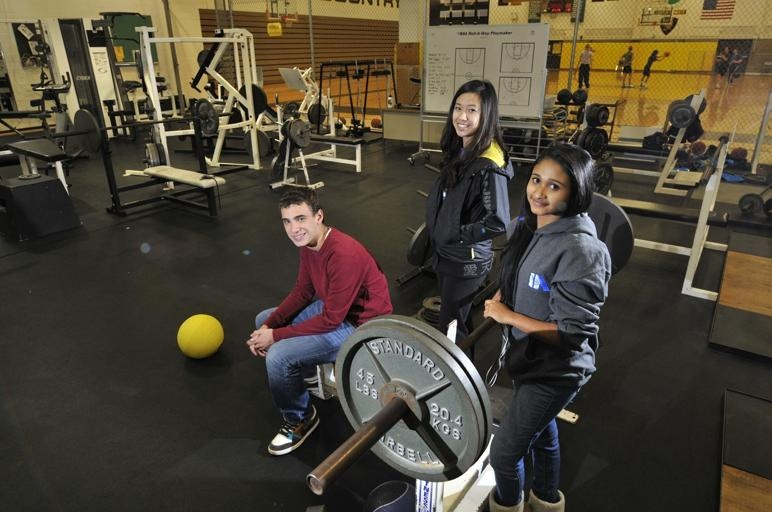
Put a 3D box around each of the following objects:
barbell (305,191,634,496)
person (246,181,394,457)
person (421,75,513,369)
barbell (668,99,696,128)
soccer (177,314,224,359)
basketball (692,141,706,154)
[{"bbox_3d":[0.545,0.526,3.351,0.969,0.983,2.492,7,27,33],"label":"barbell"},{"bbox_3d":[-0.497,0.433,3.990,1.126,1.843,0.960,-4,16,-15],"label":"person"},{"bbox_3d":[0.597,-0.096,4.129,0.612,2.525,0.752,0,27,-7],"label":"person"},{"bbox_3d":[4.286,-2.066,7.268,0.311,0.338,0.484,13,28,14],"label":"barbell"},{"bbox_3d":[-1.666,0.732,4.553,0.404,0.355,0.219,-10,26,-21],"label":"soccer"},{"bbox_3d":[5.303,-1.833,8.535,0.223,0.167,0.462,16,29,29],"label":"basketball"}]
